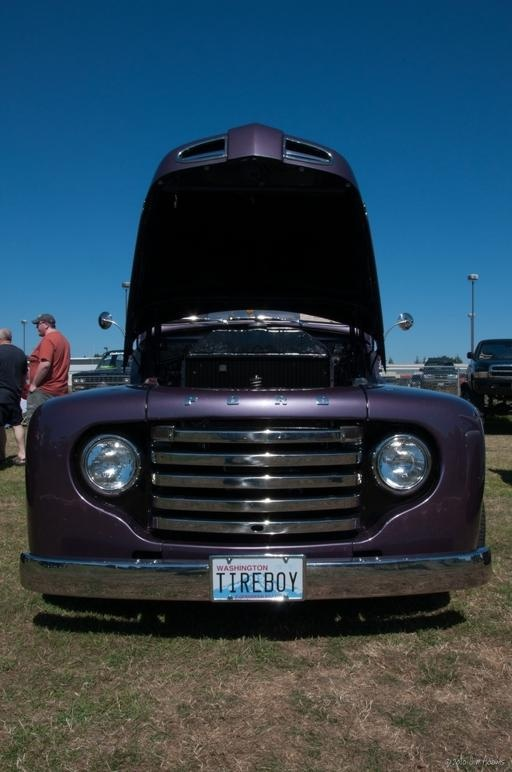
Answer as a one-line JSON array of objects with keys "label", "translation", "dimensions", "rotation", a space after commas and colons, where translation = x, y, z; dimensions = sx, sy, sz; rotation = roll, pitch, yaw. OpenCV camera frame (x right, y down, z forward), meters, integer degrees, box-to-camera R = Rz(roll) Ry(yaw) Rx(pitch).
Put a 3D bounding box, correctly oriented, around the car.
[{"label": "car", "translation": [0.016, -0.127, 2.975], "dimensions": [1.742, 1.859, 1.395], "rotation": [0, 1, 0]}]
